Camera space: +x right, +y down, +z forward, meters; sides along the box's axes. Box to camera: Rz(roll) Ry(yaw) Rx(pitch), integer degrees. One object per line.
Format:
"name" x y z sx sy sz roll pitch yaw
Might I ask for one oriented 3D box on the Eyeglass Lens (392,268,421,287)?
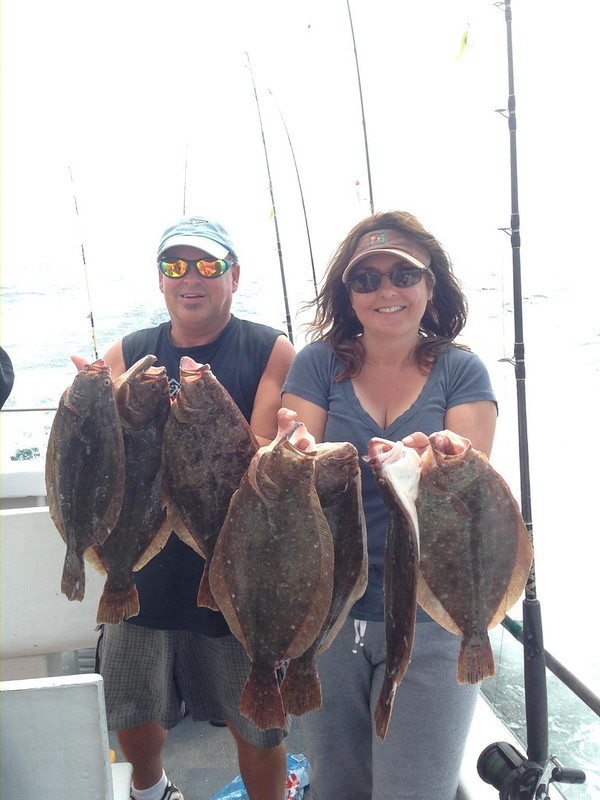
"Eyeglass Lens" 0.335 -0.384 2.666 0.095 0.061 0.025 0 9 6

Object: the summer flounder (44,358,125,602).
"summer flounder" -0.618 0.222 2.432 0.228 0.661 0.190 -3 9 -13

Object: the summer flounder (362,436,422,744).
"summer flounder" 0.243 0.472 2.205 0.138 0.746 0.329 0 9 8

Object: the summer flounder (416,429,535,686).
"summer flounder" 0.464 0.417 2.294 0.284 0.652 0.157 0 9 6

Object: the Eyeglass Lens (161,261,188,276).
"Eyeglass Lens" -0.408 -0.434 2.793 0.061 0.018 0.062 8 -19 -10

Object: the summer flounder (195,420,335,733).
"summer flounder" -0.082 0.461 2.278 0.337 0.802 0.195 -1 9 -3

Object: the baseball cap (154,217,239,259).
"baseball cap" -0.345 -0.545 2.851 0.261 0.146 0.156 -1 8 -5
